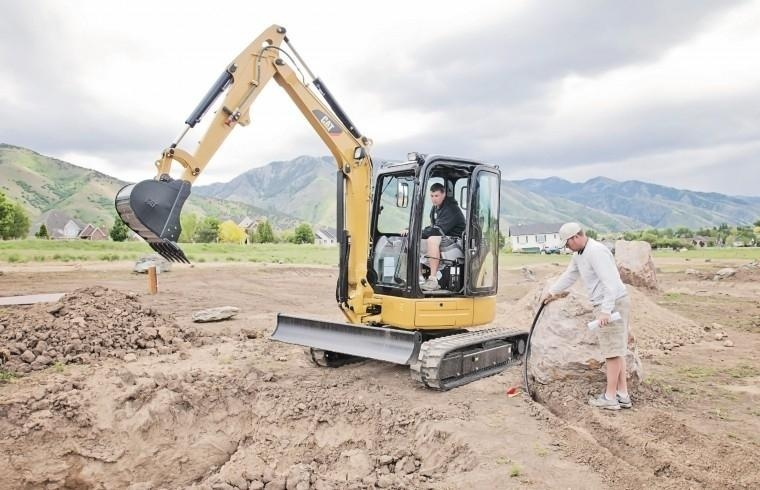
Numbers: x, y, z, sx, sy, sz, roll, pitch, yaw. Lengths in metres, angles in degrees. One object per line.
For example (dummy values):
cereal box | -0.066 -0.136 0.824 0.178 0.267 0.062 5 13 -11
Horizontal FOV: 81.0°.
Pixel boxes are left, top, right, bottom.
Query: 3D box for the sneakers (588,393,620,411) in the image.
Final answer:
sneakers | 3.785 2.665 7.601 0.464 0.200 0.208 2 -4 20

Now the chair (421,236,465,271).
chair | 1.259 0.197 9.082 0.712 0.575 0.697 -6 1 -7

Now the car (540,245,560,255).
car | 23.054 0.686 61.075 2.839 1.248 1.609 -1 4 -10

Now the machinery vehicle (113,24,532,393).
machinery vehicle | -0.803 -0.518 9.193 7.754 5.984 4.814 -4 11 -32

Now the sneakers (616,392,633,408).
sneakers | 4.166 2.682 7.712 0.148 0.154 0.348 -3 0 6

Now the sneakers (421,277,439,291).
sneakers | 0.997 0.776 9.033 0.398 0.284 0.134 -1 1 -9

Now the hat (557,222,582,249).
hat | 3.293 -0.214 7.875 0.498 0.280 0.339 -34 11 -5

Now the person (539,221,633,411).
person | 3.690 1.198 7.945 1.065 3.203 1.185 -2 1 -41
